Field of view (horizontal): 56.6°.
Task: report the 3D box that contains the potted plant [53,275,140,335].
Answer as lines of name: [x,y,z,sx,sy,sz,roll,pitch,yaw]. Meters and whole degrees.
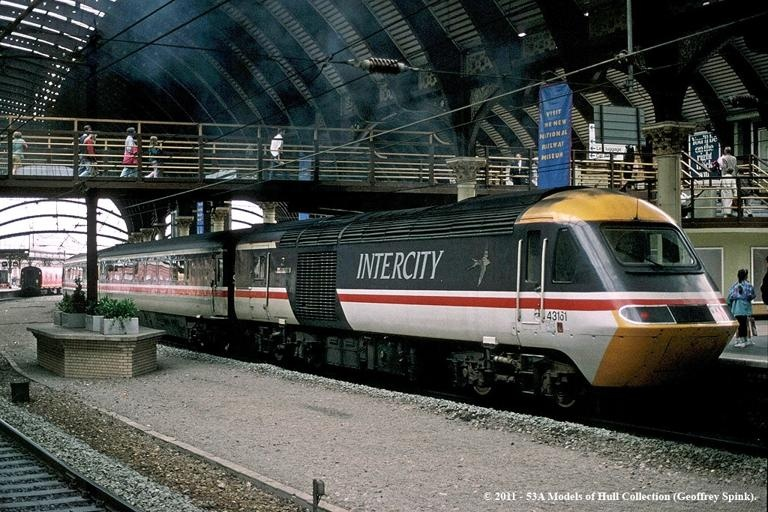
potted plant: [-8.598,1.603,21.396,1.348,1.297,3.823,3,-5,-35]

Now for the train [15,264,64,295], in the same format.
train: [-35.741,2.447,74.106,2.944,3.384,13.435,-1,-5,-20]

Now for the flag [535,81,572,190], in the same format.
flag: [4.951,-3.519,20.674,0.672,3.015,1.387,-4,7,-21]

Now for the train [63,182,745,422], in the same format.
train: [-3.756,1.623,26.491,3.997,4.658,35.979,13,-10,-36]

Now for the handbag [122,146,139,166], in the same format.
handbag: [-9.493,-3.748,26.606,0.645,0.726,2.016,-1,0,-25]
